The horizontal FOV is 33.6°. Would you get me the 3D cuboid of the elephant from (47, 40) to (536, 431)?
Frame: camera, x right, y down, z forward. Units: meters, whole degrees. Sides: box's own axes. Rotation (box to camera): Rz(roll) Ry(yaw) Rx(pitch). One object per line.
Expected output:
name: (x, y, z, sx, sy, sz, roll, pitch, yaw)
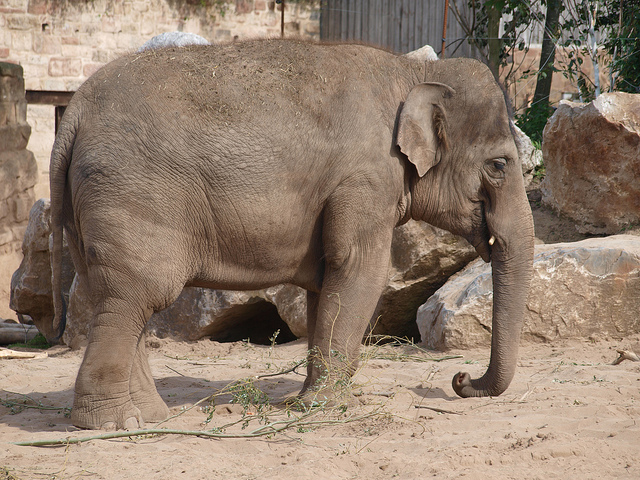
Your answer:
elephant: (-0.087, -0.029, 8.547, 3.855, 2.939, 1.511, 0, 8, -16)
